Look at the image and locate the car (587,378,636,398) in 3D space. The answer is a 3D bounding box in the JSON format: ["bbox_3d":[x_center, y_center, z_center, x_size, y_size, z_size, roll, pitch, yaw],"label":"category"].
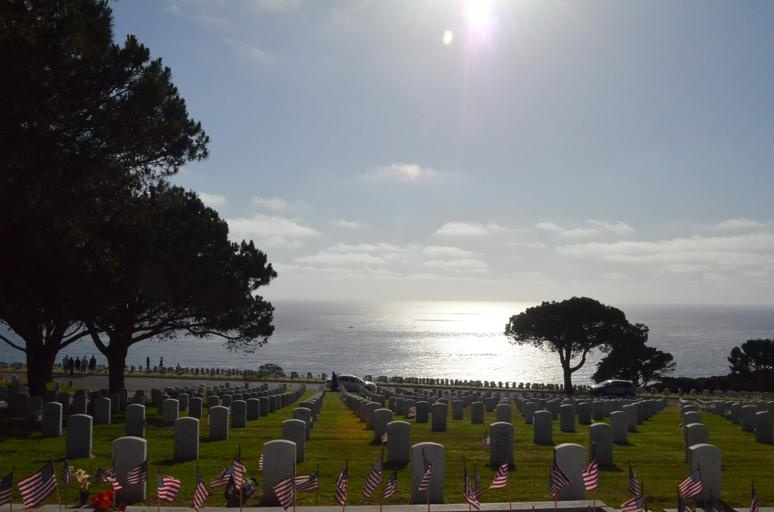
[{"bbox_3d":[16.467,9.689,49.024,2.717,1.460,1.629,3,-8,9],"label":"car"}]

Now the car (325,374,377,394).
[{"bbox_3d":[-2.737,10.047,50.387,4.003,1.563,2.030,-1,0,2],"label":"car"}]

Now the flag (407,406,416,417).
[{"bbox_3d":[1.155,7.185,30.849,0.181,0.561,0.452,17,-17,-40],"label":"flag"}]
